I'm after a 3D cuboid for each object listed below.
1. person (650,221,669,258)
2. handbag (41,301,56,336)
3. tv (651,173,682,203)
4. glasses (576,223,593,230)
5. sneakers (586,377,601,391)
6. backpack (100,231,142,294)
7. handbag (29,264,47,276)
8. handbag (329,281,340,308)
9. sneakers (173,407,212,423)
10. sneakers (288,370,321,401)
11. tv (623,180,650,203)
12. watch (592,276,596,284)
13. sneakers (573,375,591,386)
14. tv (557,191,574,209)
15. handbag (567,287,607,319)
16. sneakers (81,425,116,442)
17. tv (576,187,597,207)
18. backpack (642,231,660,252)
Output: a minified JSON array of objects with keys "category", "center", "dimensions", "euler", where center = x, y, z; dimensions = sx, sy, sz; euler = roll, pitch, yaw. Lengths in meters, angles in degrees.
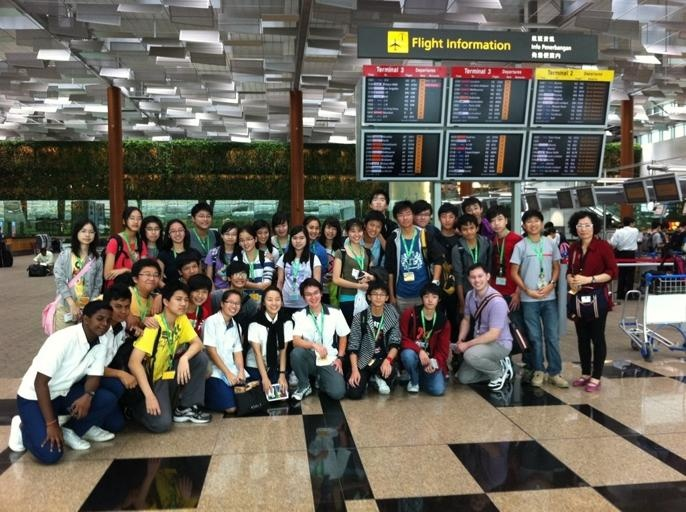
[{"category":"person","center":[9.067,-0.508,15.075],"dimensions":[0.436,0.850,3.174],"euler":[3,8,31]},{"category":"handbag","center":[-3.409,0.733,6.167],"dimensions":[0.165,0.406,0.452],"euler":[-5,8,-29]},{"category":"tv","center":[8.183,-1.690,13.298],"dimensions":[0.200,0.656,0.730],"euler":[-4,4,-13]},{"category":"glasses","center":[2.874,-0.343,6.231],"dimensions":[0.185,0.079,0.112],"euler":[1,7,13]},{"category":"sneakers","center":[2.982,1.501,6.268],"dimensions":[0.160,0.134,0.301],"euler":[3,8,28]},{"category":"backpack","center":[-2.583,0.099,6.177],"dimensions":[0.367,0.370,0.626],"euler":[17,43,8]},{"category":"handbag","center":[-10.569,0.512,18.311],"dimensions":[0.581,0.385,0.412],"euler":[2,8,-9]},{"category":"handbag","center":[-0.091,0.485,6.798],"dimensions":[0.080,0.291,0.190],"euler":[-6,9,-36]},{"category":"sneakers","center":[-1.550,1.638,5.496],"dimensions":[0.417,0.180,0.157],"euler":[1,-4,-5]},{"category":"sneakers","center":[-0.443,1.571,6.213],"dimensions":[0.156,0.214,0.503],"euler":[7,-6,15]},{"category":"tv","center":[8.131,-1.737,14.597],"dimensions":[0.196,0.537,0.790],"euler":[-6,1,-8]},{"category":"watch","center":[2.916,0.280,6.116],"dimensions":[0.038,0.062,0.063],"euler":[8,-30,18]},{"category":"sneakers","center":[2.921,1.516,6.396],"dimensions":[0.256,0.092,0.083],"euler":[2,-4,-31]},{"category":"tv","center":[7.518,-1.885,17.727],"dimensions":[0.225,0.556,0.609],"euler":[-16,5,1]},{"category":"handbag","center":[2.899,0.557,6.197],"dimensions":[0.449,0.387,0.236],"euler":[1,7,15]},{"category":"sneakers","center":[-2.334,1.713,5.105],"dimensions":[0.331,0.125,0.117],"euler":[2,1,-4]},{"category":"tv","center":[7.682,-1.830,16.557],"dimensions":[0.161,0.565,0.635],"euler":[-3,5,-13]},{"category":"backpack","center":[9.142,-0.393,15.579],"dimensions":[0.388,0.615,0.660],"euler":[4,0,9]}]
